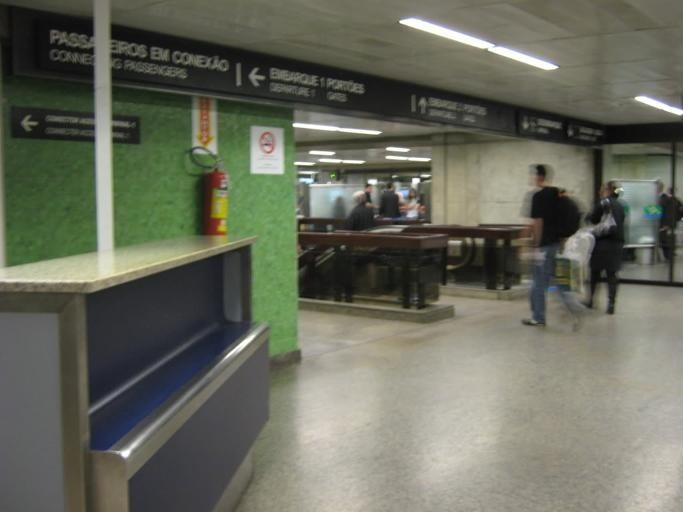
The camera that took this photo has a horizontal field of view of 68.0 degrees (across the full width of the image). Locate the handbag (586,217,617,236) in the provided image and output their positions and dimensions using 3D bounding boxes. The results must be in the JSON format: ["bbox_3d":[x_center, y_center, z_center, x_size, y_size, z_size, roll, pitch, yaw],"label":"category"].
[{"bbox_3d":[4.262,-0.511,8.249,0.183,0.371,0.376,-4,6,-29],"label":"handbag"}]

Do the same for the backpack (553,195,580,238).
[{"bbox_3d":[3.246,-0.571,7.224,0.245,0.651,0.361,3,7,31],"label":"backpack"}]

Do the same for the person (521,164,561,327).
[{"bbox_3d":[2.906,-0.174,7.430,0.611,2.269,0.788,2,7,27],"label":"person"}]

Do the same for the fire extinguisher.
[{"bbox_3d":[-1.311,-0.659,4.964,0.313,0.863,0.278,1,6,20],"label":"fire extinguisher"}]
